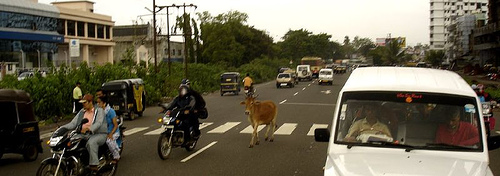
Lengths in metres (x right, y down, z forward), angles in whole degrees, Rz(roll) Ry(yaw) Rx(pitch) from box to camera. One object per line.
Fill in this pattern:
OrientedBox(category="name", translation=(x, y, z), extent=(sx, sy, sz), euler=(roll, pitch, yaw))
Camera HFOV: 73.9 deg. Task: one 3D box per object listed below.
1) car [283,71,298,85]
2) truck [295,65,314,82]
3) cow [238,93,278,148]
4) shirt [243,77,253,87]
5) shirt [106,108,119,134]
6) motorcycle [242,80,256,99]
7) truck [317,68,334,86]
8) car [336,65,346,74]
OrientedBox(category="car", translation=(10.420, -2.465, 79.268), extent=(2.991, 2.384, 4.662), euler=(4, 20, 22))
OrientedBox(category="truck", translation=(13.669, -3.622, 84.597), extent=(3.228, 4.050, 2.967), euler=(0, 7, 14))
OrientedBox(category="cow", translation=(1.066, 3.476, 36.049), extent=(3.957, 5.137, 2.859), euler=(-4, 7, -17))
OrientedBox(category="shirt", translation=(-0.376, -1.010, 57.031), extent=(1.076, 1.569, 1.062), euler=(0, 7, 18))
OrientedBox(category="shirt", translation=(-12.996, 3.033, 31.119), extent=(0.753, 2.280, 0.357), euler=(-5, 8, -20))
OrientedBox(category="motorcycle", translation=(0.077, 0.546, 55.003), extent=(1.913, 1.715, 3.127), euler=(-4, -10, 8))
OrientedBox(category="truck", translation=(16.859, -2.413, 74.049), extent=(2.921, 2.128, 4.989), euler=(-1, -3, 7))
OrientedBox(category="car", translation=(30.227, -6.087, 110.858), extent=(3.209, 1.883, 3.281), euler=(0, -2, 8))
